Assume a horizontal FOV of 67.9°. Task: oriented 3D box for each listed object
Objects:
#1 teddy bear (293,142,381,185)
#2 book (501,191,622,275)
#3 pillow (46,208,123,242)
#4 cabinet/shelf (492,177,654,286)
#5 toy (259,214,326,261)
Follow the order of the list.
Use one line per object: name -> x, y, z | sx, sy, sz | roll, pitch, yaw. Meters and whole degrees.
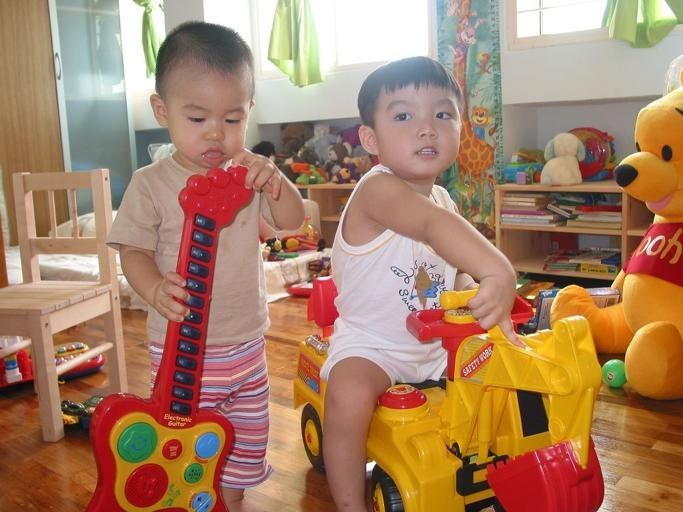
teddy bear -> -0.020, -0.656, 3.647 | 0.614, 0.306, 0.398 | -11, 16, -43
book -> 1.253, -0.174, 2.864 | 0.685, 0.539, 0.457 | 4, 8, 35
pillow -> -1.204, -0.145, 2.341 | 0.304, 0.159, 0.316 | -6, 6, -5
cabinet/shelf -> 1.284, -0.256, 2.814 | 0.812, 0.658, 0.541 | 11, 18, 38
toy -> -0.300, -0.134, 3.227 | 0.245, 0.150, 0.345 | -5, 10, -18
